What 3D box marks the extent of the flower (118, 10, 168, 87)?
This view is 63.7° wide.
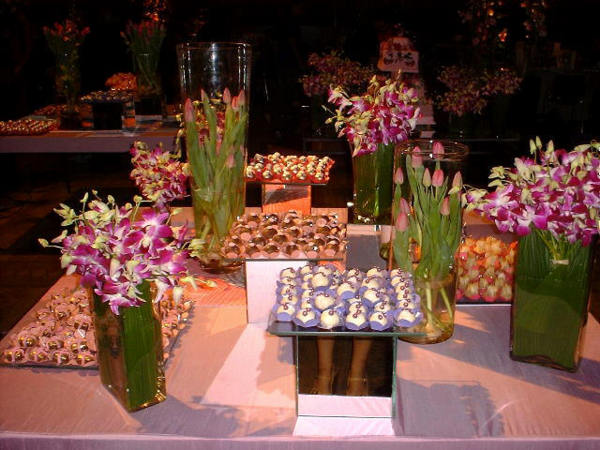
[{"bbox_3d":[-0.768,-0.849,2.447,0.191,0.334,0.212,2,8,36],"label":"flower"}]

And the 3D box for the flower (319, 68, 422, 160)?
[{"bbox_3d":[0.298,-0.361,1.677,0.297,0.188,0.255,1,-6,2],"label":"flower"}]

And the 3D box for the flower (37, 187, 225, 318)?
[{"bbox_3d":[-0.348,0.086,0.934,0.264,0.178,0.244,1,3,-43],"label":"flower"}]

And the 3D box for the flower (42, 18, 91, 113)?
[{"bbox_3d":[-1.367,-0.958,2.873,0.224,0.508,0.295,-9,19,-25],"label":"flower"}]

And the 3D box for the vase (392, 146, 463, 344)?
[{"bbox_3d":[0.318,0.067,1.159,0.096,0.270,0.100,-19,-27,25],"label":"vase"}]

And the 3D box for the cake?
[{"bbox_3d":[0.103,0.134,1.015,0.310,0.071,0.233,1,17,3],"label":"cake"}]

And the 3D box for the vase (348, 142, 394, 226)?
[{"bbox_3d":[0.293,-0.150,1.757,0.182,0.300,0.182,3,-1,-38],"label":"vase"}]
